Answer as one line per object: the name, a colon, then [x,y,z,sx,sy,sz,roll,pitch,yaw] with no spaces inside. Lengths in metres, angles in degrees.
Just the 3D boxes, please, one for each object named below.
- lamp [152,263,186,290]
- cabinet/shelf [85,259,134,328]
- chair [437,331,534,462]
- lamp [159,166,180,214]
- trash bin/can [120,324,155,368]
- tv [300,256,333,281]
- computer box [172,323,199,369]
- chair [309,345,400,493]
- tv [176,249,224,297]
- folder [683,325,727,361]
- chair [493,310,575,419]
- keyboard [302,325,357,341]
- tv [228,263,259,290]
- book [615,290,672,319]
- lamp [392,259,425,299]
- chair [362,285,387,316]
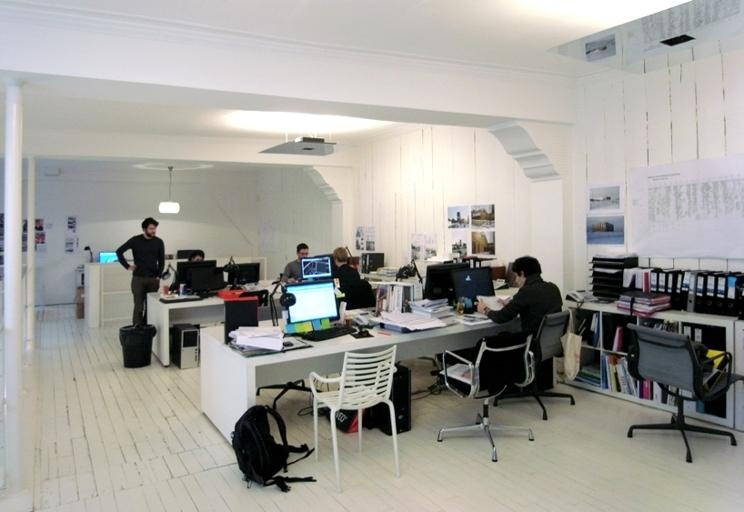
lamp: [-3.327,0.338,8.549,0.419,0.496,0.499,5,1,-37]
cabinet/shelf: [-4.918,0.714,9.763,0.353,1.125,1.037,2,15,29]
chair: [1.174,1.347,5.410,0.843,1.153,0.853,-4,3,-43]
lamp: [-4.767,-1.470,12.248,0.405,1.263,2.198,-6,13,-21]
trash bin/can: [-3.309,1.304,7.619,0.480,0.578,0.560,-1,-5,2]
tv: [-0.799,0.168,7.663,0.629,0.454,0.322,0,-1,-17]
computer box: [-2.673,1.259,7.487,0.392,0.543,0.548,-10,15,-36]
chair: [-0.179,1.485,5.049,0.749,1.211,0.763,0,-1,-26]
tv: [-2.762,0.278,8.225,0.712,0.703,0.584,2,-4,-36]
folder: [3.444,0.895,5.367,0.373,0.351,0.088,8,4,34]
chair: [1.743,1.080,5.574,0.820,1.012,0.794,-1,4,8]
keyboard: [-0.421,0.782,5.345,0.596,0.066,0.195,-9,15,-32]
tv: [-2.104,0.335,8.535,0.377,0.319,0.167,-3,15,-40]
book: [3.045,0.534,5.901,0.326,0.135,0.337,-4,7,-36]
lamp: [0.648,0.331,8.370,0.348,0.665,0.676,2,-2,-23]
chair: [0.130,0.523,6.256,0.307,0.370,0.375,0,0,-23]
